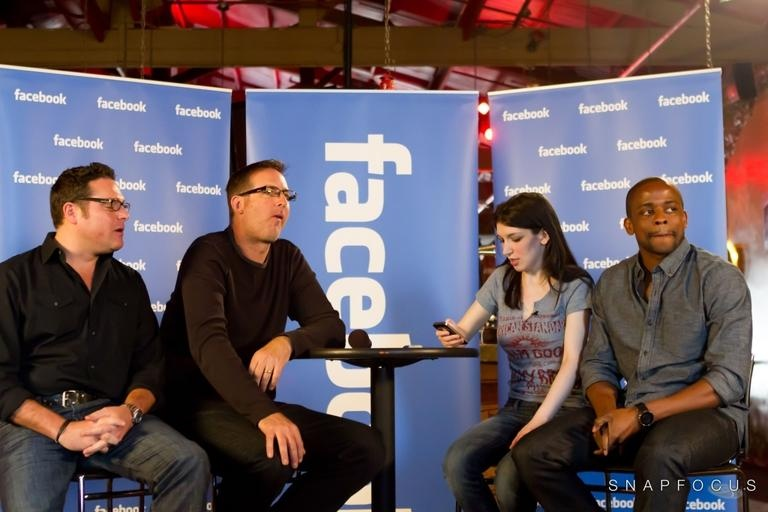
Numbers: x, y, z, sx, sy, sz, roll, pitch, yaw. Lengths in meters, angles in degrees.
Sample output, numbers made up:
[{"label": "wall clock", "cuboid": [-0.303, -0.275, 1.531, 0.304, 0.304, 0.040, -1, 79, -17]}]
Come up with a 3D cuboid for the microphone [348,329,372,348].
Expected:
[{"label": "microphone", "cuboid": [-0.122, 0.443, 4.166, 0.114, 0.117, 0.085, 8, -19, -24]}]

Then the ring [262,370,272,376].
[{"label": "ring", "cuboid": [-0.603, 0.603, 4.049, 0.046, 0.025, 0.011, 0, 0, -19]}]

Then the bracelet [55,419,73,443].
[{"label": "bracelet", "cuboid": [-1.634, 0.880, 3.954, 0.027, 0.105, 0.097, 19, 16, -14]}]

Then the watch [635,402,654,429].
[{"label": "watch", "cuboid": [1.358, 0.817, 4.047, 0.089, 0.120, 0.050, 0, 0, 19]}]

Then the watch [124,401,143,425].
[{"label": "watch", "cuboid": [-1.297, 0.820, 4.062, 0.106, 0.119, 0.072, -8, 2, 31]}]
